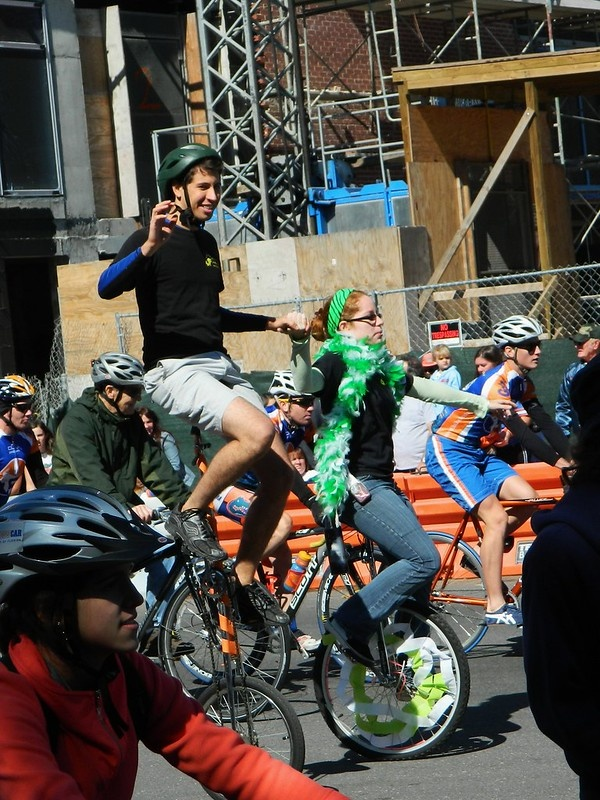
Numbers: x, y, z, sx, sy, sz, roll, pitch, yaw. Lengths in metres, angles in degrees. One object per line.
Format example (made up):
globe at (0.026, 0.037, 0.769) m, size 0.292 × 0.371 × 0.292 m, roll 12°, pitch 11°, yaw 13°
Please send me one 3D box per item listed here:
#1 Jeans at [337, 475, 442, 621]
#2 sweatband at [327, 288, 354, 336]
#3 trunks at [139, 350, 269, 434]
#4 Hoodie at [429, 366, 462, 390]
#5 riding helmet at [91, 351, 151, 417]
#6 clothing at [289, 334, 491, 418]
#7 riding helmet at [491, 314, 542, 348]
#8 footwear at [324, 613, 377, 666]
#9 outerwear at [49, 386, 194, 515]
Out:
Jeans at (0.438, 0.707, 4.370) m, size 0.403 × 0.584 × 0.284 m, roll -6°, pitch -2°, yaw 1°
sweatband at (0.183, -0.460, 4.777) m, size 0.094 × 0.216 × 0.176 m, roll 23°, pitch 15°, yaw 22°
trunks at (-0.421, -0.041, 4.317) m, size 0.399 × 0.296 × 0.642 m, roll -5°, pitch -2°, yaw -27°
Hoodie at (1.544, -0.240, 9.697) m, size 0.392 × 0.297 × 0.162 m, roll 1°, pitch 6°, yaw 2°
riding helmet at (-1.123, -0.096, 5.874) m, size 0.474 × 0.408 × 0.357 m, roll -4°, pitch -3°, yaw 30°
clothing at (0.378, -0.117, 4.943) m, size 0.676 × 0.214 × 0.544 m, roll 11°, pitch 9°, yaw -24°
riding helmet at (1.707, -0.542, 7.353) m, size 0.361 × 0.185 × 0.247 m, roll -17°, pitch -10°, yaw 34°
footwear at (0.241, 1.159, 4.344) m, size 0.100 × 0.282 × 0.164 m, roll -47°, pitch -2°, yaw 3°
outerwear at (-1.237, 0.341, 5.659) m, size 0.950 × 0.854 × 0.703 m, roll -2°, pitch -6°, yaw 34°
